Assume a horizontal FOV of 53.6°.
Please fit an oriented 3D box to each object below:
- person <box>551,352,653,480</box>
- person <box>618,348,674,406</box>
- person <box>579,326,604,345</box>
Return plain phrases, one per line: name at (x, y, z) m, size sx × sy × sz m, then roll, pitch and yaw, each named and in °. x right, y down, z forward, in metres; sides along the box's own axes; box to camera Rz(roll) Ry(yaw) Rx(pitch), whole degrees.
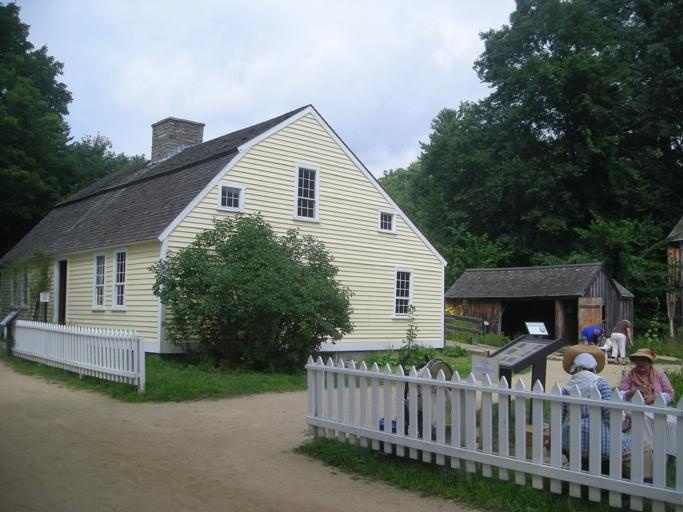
person at (3.541, 2.533, 9.539) m, size 0.854 × 2.367 × 0.821 m, roll 13°, pitch -21°, yaw -10°
person at (4.673, 1.888, 10.358) m, size 0.795 × 1.195 × 1.129 m, roll -3°, pitch -6°, yaw 19°
person at (9.269, 2.957, 25.021) m, size 0.691 × 0.756 × 2.121 m, roll -2°, pitch -11°, yaw 20°
